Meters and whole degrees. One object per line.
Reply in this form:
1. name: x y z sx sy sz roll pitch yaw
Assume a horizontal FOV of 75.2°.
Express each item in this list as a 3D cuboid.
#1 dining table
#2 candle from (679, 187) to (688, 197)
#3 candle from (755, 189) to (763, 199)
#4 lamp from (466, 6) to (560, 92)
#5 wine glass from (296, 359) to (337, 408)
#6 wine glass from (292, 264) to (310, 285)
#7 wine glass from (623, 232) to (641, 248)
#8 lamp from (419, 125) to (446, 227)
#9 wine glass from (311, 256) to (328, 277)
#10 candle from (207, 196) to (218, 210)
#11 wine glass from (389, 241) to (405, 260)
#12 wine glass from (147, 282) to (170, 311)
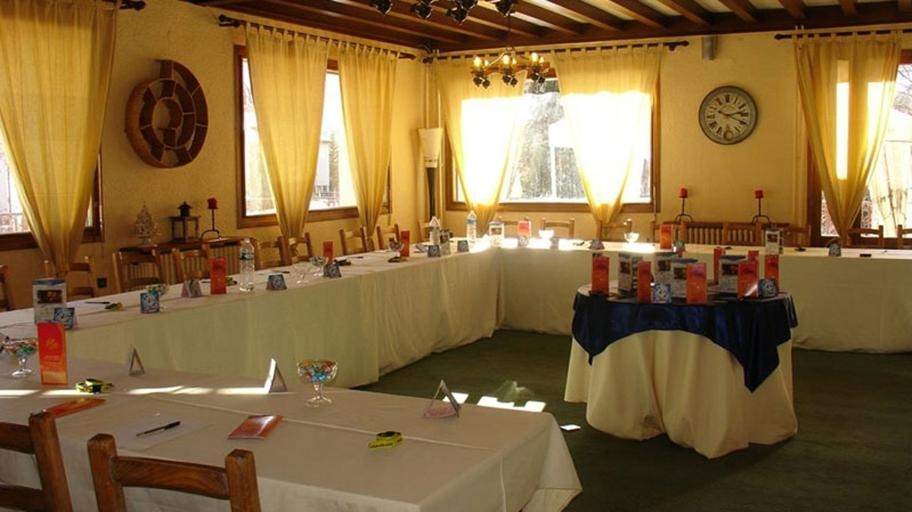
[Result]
1. dining table: 1.755 0.855 4.447 1.283 0.673 1.316 5 9 41
2. candle: 3.307 -0.913 8.561 0.137 0.130 0.130 -2 0 -3
3. candle: 4.282 -0.846 8.245 0.142 0.141 0.145 5 12 37
4. lamp: 0.836 -2.683 7.740 1.095 1.061 3.290 0 13 4
5. wine glass: -0.724 0.687 3.212 0.257 0.229 0.230 0 -2 0
6. wine glass: -1.427 0.177 5.389 0.187 0.186 0.180 4 7 12
7. wine glass: 2.223 -0.190 7.240 0.242 0.223 0.230 -1 3 -7
8. lamp: -0.387 -1.293 9.675 0.417 1.530 0.690 -2 14 -2
9. wine glass: -1.312 0.096 5.558 0.195 0.188 0.187 0 -1 3
10. candle: -2.948 -0.620 7.113 0.188 0.174 0.026 1 26 4
11. wine glass: -0.679 -0.062 6.424 0.191 0.199 0.198 1 -2 29
12. wine glass: -2.268 0.305 4.506 0.192 0.151 0.195 -4 10 -24
